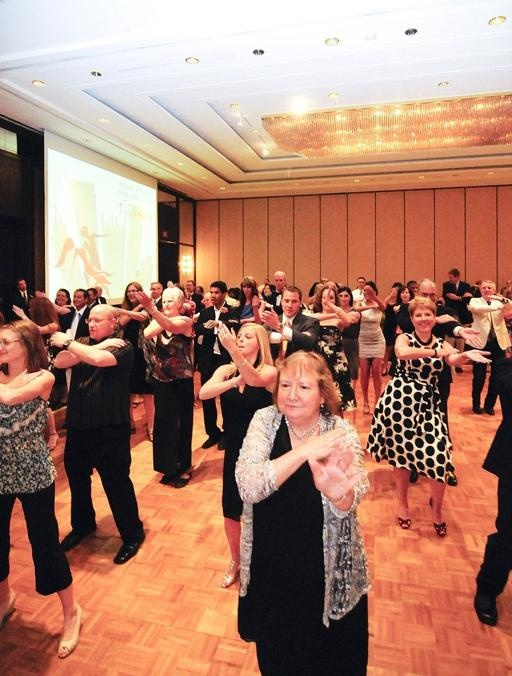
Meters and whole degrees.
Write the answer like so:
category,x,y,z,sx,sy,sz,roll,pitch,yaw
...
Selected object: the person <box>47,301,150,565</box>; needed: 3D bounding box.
category,x,y,z,sx,sy,sz,roll,pitch,yaw
person,-0.889,0.519,2.796,0.430,1.466,0.511,2,11,-28
